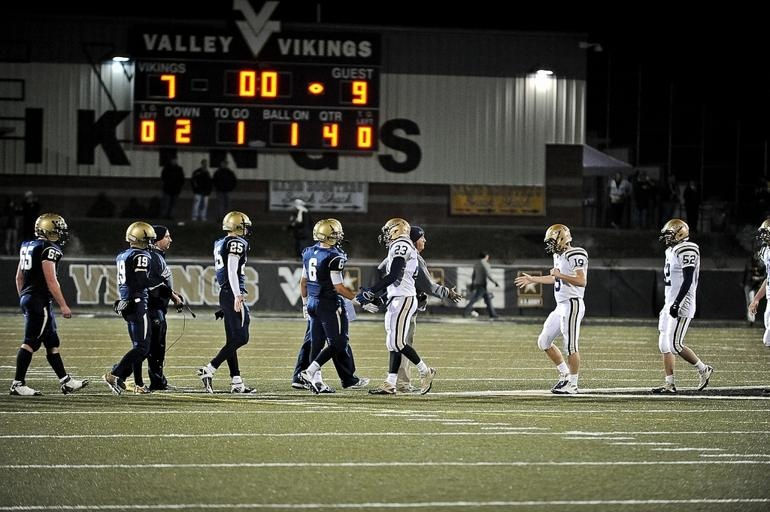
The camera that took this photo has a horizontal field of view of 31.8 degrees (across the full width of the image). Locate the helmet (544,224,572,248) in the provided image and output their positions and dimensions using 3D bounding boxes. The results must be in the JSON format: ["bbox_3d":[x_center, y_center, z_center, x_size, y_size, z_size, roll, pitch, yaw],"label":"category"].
[{"bbox_3d":[4.038,-0.421,30.909,0.649,0.473,0.452,-3,-11,-1],"label":"helmet"}]

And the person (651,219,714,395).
[{"bbox_3d":[6.872,1.146,31.238,1.121,3.881,1.453,2,5,13],"label":"person"}]

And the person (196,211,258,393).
[{"bbox_3d":[-3.366,1.053,30.822,1.091,3.998,1.542,1,5,-5],"label":"person"}]

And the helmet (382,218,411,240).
[{"bbox_3d":[0.344,-0.554,30.732,0.578,0.493,0.431,8,-6,21],"label":"helmet"}]

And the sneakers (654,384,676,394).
[{"bbox_3d":[6.371,3.048,30.812,0.580,0.221,0.193,2,-6,8],"label":"sneakers"}]

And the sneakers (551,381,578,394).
[{"bbox_3d":[4.121,3.000,30.591,0.672,0.272,0.234,-2,5,-1],"label":"sneakers"}]

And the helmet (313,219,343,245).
[{"bbox_3d":[-1.154,-0.534,30.778,0.670,0.531,0.494,-6,15,-20],"label":"helmet"}]

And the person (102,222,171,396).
[{"bbox_3d":[-5.446,1.206,30.271,0.863,3.788,1.178,3,6,23],"label":"person"}]

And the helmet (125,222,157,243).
[{"bbox_3d":[-5.355,-0.504,30.619,0.598,0.421,0.432,-6,12,-16],"label":"helmet"}]
